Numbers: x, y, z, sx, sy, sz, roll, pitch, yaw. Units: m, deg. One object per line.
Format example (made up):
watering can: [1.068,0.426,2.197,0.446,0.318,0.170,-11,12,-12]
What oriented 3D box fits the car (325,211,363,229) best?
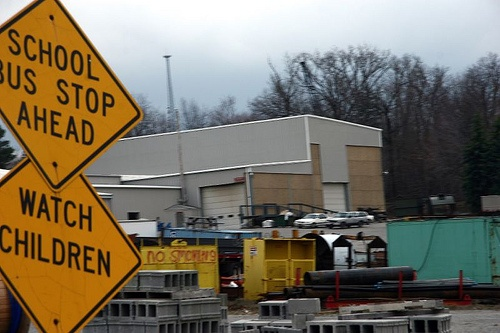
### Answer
car: [7.064,4.154,94.037,2.663,0.750,1.173,6,-10,-40]
